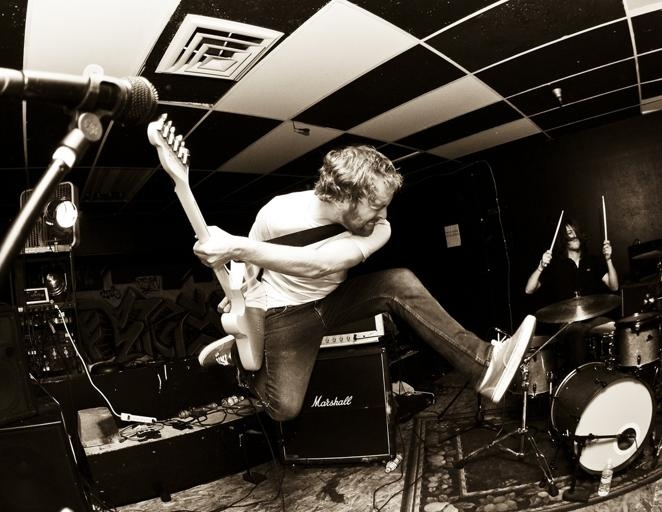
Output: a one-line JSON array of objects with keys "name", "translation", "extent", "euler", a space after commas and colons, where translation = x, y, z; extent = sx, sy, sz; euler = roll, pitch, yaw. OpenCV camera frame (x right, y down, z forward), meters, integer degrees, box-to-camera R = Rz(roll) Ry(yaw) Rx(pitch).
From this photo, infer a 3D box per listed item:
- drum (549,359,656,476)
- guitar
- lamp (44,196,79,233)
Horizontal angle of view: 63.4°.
[{"name": "drum", "translation": [1.803, 1.102, 3.556], "extent": [0.524, 0.605, 0.380], "euler": [4, 20, -24]}, {"name": "guitar", "translation": [-0.662, 0.036, 3.057], "extent": [0.332, 1.592, 1.009], "euler": [-3, 7, 6]}, {"name": "lamp", "translation": [-1.949, -0.332, 3.853], "extent": [0.218, 0.255, 0.233], "euler": [-8, 36, -32]}]
